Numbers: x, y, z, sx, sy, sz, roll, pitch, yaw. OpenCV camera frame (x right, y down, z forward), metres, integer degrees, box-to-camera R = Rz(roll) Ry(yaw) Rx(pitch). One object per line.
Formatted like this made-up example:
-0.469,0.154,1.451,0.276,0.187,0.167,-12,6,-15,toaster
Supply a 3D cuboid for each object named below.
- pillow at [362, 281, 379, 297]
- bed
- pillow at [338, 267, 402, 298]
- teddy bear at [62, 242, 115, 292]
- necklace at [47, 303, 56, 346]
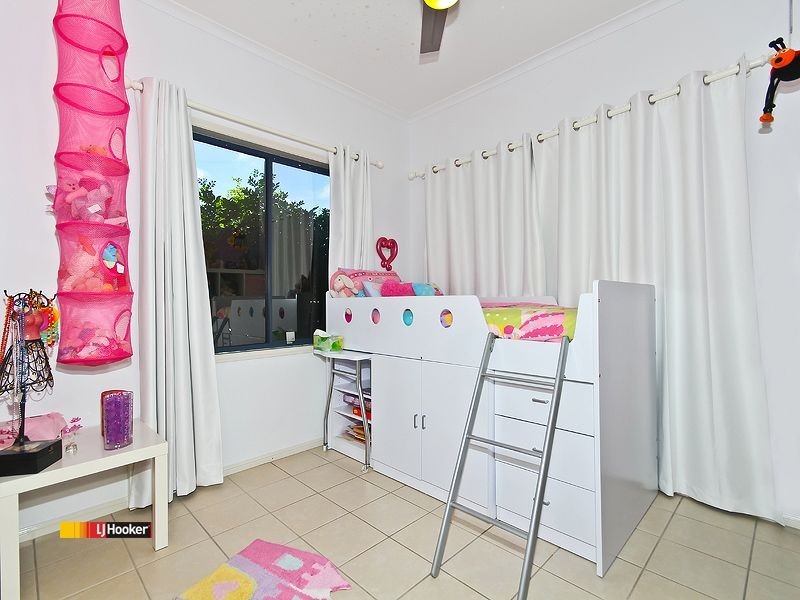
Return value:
-0.224,-0.084,4.121,0.100,0.119,0.030,-7,-30,-23,pillow
0.489,0.622,4.019,2.223,1.547,1.202,-1,4,40,bed
-0.300,-0.143,4.257,0.314,0.103,0.292,0,46,-17,pillow
-1.790,-0.180,3.125,0.283,0.269,0.240,-2,-1,30,teddy bear
-2.055,0.151,3.199,0.033,0.240,0.065,3,6,44,necklace
